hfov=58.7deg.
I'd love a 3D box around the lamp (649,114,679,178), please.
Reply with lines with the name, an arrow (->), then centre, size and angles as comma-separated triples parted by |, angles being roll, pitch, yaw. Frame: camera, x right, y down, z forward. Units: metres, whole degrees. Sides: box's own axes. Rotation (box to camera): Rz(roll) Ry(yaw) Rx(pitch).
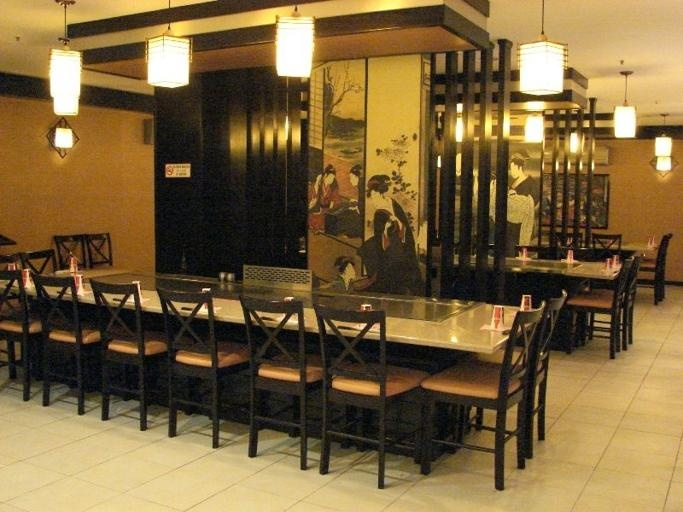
lamp -> 6.172, -2.075, 11.518 | 0.517, 1.178, 2.890 | 7, 10, 26

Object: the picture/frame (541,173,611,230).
picture/frame -> 4.563, -1.076, 11.796 | 2.046, 1.263, 0.116 | 0, 8, 15

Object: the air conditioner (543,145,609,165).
air conditioner -> 5.032, -2.162, 12.890 | 1.264, 0.451, 1.421 | 4, 9, 20

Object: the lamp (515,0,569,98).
lamp -> 1.511, -1.436, 4.541 | 0.375, 0.422, 0.203 | 1, 11, 0

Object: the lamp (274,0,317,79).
lamp -> -0.326, -1.449, 4.206 | 0.240, 0.380, 0.095 | -1, 12, -15

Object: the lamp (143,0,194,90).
lamp -> -1.311, -1.501, 4.604 | 0.325, 0.409, 0.231 | -1, 11, -12
